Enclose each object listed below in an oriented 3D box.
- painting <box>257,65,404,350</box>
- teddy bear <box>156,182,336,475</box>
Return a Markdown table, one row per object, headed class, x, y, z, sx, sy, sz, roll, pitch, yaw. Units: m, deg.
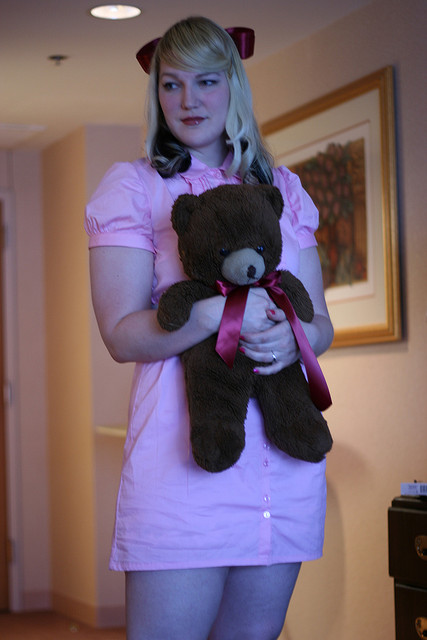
| class | x | y | z | sx | sy | sz | roll | pitch | yaw |
| --- | --- | --- | --- | --- | --- | --- | --- | --- | --- |
| painting | 0.377 | -0.372 | 2.252 | 0.034 | 0.786 | 0.764 | -4 | 3 | -25 |
| teddy bear | 0.038 | 0.007 | 0.840 | 0.259 | 0.383 | 0.217 | 1 | 3 | -21 |
